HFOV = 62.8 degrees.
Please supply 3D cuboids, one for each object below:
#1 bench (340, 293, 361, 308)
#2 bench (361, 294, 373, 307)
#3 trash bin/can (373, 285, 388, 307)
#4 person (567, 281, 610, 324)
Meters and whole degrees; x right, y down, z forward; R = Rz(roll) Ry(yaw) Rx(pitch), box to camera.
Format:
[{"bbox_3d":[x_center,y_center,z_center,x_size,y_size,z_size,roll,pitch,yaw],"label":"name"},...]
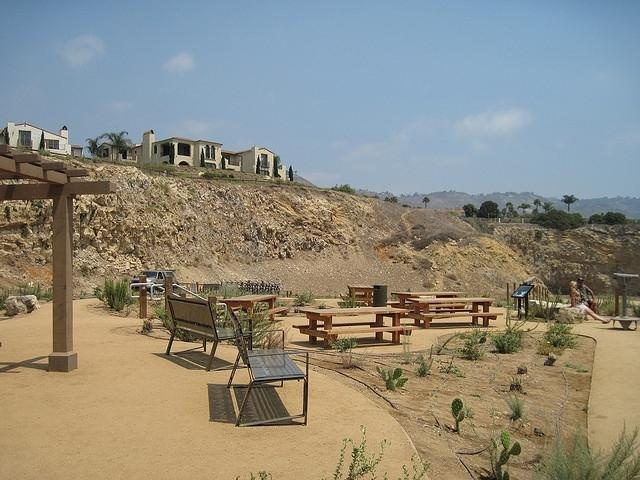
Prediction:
[{"bbox_3d":[1.210,2.449,21.124,0.799,0.422,2.800,1,-1,4],"label":"bench"},{"bbox_3d":[2.156,2.635,23.403,0.440,0.433,0.121,-2,-45,2],"label":"bench"},{"bbox_3d":[2.303,2.108,19.938,0.477,0.706,0.808,1,-1,9],"label":"trash bin/can"},{"bbox_3d":[9.155,2.023,17.903,0.838,1.011,1.716,-9,22,-9],"label":"person"}]
